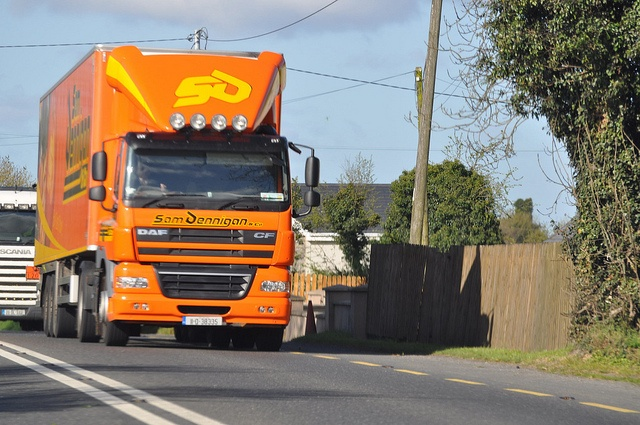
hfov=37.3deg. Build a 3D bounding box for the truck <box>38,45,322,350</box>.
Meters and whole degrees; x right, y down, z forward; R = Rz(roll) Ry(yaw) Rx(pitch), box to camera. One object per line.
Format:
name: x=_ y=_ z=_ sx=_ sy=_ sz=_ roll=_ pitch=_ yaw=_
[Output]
truck: x=-4.277 y=-0.159 z=23.368 sx=3.897 sy=6.259 sz=10.830 roll=3 pitch=-5 yaw=-23
